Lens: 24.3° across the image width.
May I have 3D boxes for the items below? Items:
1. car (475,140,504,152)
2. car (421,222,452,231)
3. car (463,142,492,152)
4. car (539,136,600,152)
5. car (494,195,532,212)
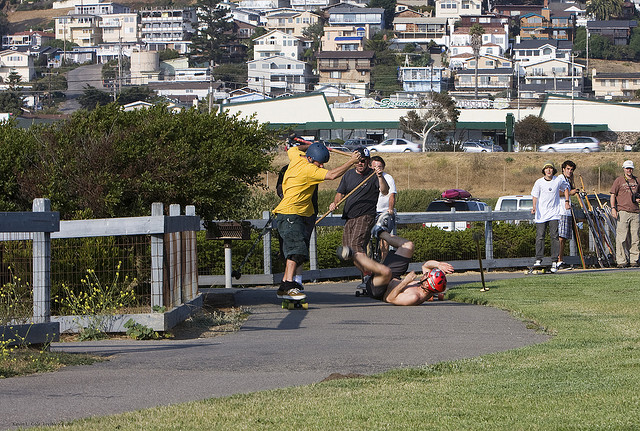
[{"bbox_3d":[24.829,-9.950,211.981,1.872,1.425,4.304,0,1,-29],"label":"car"},{"bbox_3d":[12.698,1.099,154.252,2.063,1.083,1.221,4,2,8],"label":"car"},{"bbox_3d":[22.406,-9.535,208.717,3.462,1.120,1.561,-1,6,16],"label":"car"},{"bbox_3d":[35.832,-9.844,207.761,6.549,1.981,2.921,2,1,8],"label":"car"},{"bbox_3d":[21.602,-1.347,161.900,3.768,1.547,1.757,-1,0,11],"label":"car"}]
